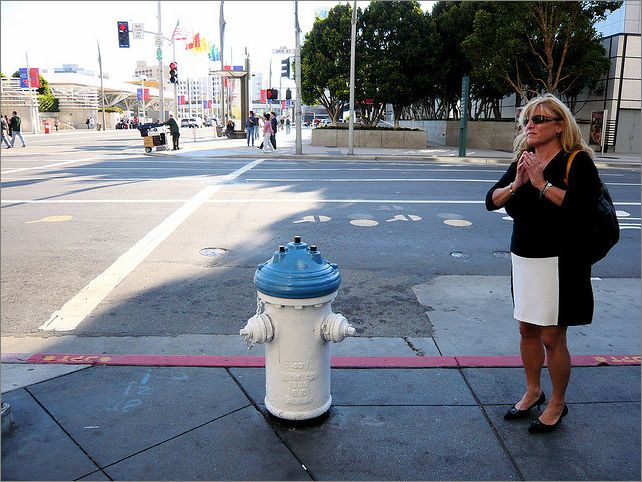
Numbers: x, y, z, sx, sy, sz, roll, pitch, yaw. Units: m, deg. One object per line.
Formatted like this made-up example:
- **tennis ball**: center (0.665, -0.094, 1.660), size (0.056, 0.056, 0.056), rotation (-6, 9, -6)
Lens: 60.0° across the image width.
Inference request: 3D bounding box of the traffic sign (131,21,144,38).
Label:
- **traffic sign**: center (-11.771, -13.451, 35.547), size (0.656, 0.853, 0.402), rotation (-3, 14, -12)

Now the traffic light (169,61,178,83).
- **traffic light**: center (-8.186, -9.342, 30.718), size (0.364, 1.119, 1.498), rotation (-3, 15, -12)

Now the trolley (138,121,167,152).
- **trolley**: center (-8.254, -5.160, 27.203), size (1.443, 1.712, 1.412), rotation (-6, 22, -17)

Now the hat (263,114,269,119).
- **hat**: center (-2.594, -6.035, 26.650), size (0.192, 0.251, 0.292), rotation (7, -14, -11)

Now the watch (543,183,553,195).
- **watch**: center (1.631, -0.378, 3.981), size (0.027, 0.075, 0.066), rotation (28, 21, -12)

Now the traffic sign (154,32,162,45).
- **traffic sign**: center (-10.643, -13.047, 36.209), size (0.435, 0.876, 0.674), rotation (-5, 15, -19)

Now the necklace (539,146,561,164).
- **necklace**: center (1.713, -0.638, 4.133), size (0.115, 0.104, 0.094), rotation (18, 4, 22)

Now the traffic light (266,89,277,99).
- **traffic light**: center (-2.621, -7.951, 30.037), size (0.534, 0.612, 1.765), rotation (-2, 16, -7)

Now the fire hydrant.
- **fire hydrant**: center (-0.181, 0.655, 4.240), size (0.771, 1.339, 0.406), rotation (-2, 14, -10)

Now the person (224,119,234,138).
- **person**: center (-7.016, -8.540, 42.458), size (0.635, 1.334, 1.500), rotation (-2, 15, -10)

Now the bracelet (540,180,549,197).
- **bracelet**: center (1.626, -0.379, 3.984), size (0.027, 0.080, 0.071), rotation (28, 33, 6)

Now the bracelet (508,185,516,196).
- **bracelet**: center (1.444, -0.384, 4.167), size (0.021, 0.065, 0.043), rotation (-1, -3, -43)

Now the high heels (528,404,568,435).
- **high heels**: center (1.752, 1.380, 4.243), size (0.385, 0.184, 0.135), rotation (-14, 3, -24)

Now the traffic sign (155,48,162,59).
- **traffic sign**: center (-10.628, -12.195, 36.210), size (0.213, 0.703, 0.470), rotation (-8, 16, -29)
